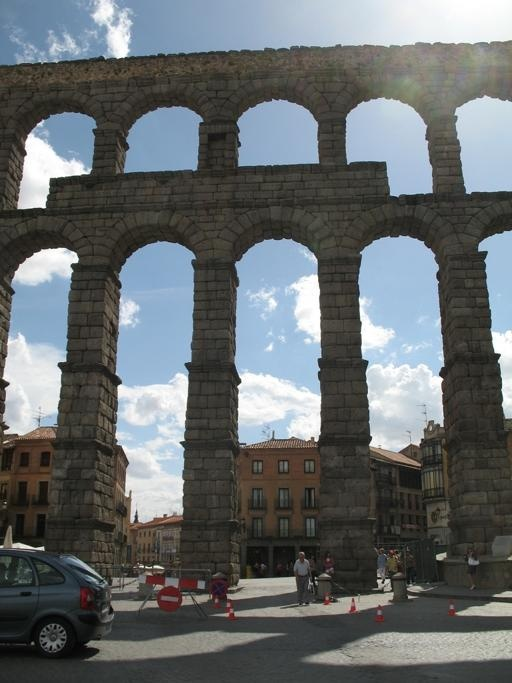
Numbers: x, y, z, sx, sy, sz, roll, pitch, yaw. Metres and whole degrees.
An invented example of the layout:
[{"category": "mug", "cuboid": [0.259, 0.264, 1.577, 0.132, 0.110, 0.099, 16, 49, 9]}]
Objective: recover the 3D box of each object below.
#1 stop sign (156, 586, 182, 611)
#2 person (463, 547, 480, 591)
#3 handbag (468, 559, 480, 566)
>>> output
[{"category": "stop sign", "cuboid": [-1.381, 4.107, 10.937, 0.377, 0.359, 0.140, -4, -19, 12]}, {"category": "person", "cuboid": [4.707, 4.906, 14.790, 0.286, 0.847, 0.893, -5, -19, 16]}, {"category": "handbag", "cuboid": [4.663, 4.699, 14.541, 0.207, 0.174, 0.130, 25, -35, -15]}]
